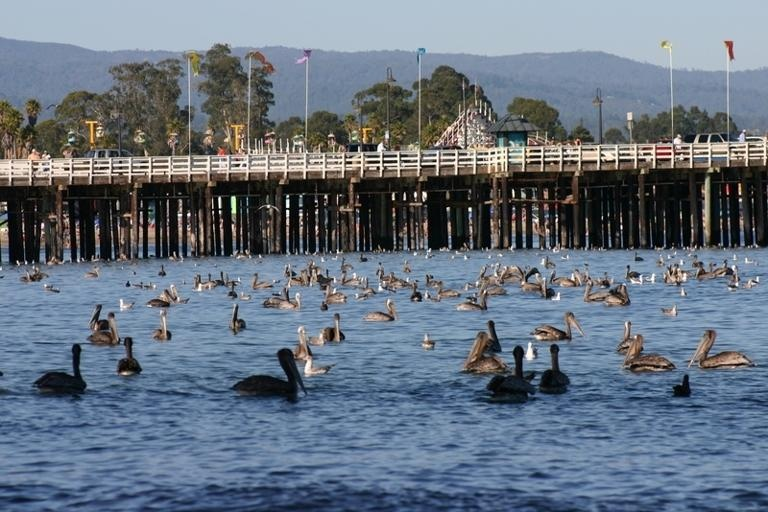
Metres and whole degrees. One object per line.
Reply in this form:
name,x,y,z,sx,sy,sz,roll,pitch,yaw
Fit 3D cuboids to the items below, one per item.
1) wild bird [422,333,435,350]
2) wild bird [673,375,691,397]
wild bird,1.993,3.899,75.231,0.390,0.536,0.770,4,8,-6
wild bird,12.476,5.334,69.368,0.747,0.842,0.937,-1,3,10
